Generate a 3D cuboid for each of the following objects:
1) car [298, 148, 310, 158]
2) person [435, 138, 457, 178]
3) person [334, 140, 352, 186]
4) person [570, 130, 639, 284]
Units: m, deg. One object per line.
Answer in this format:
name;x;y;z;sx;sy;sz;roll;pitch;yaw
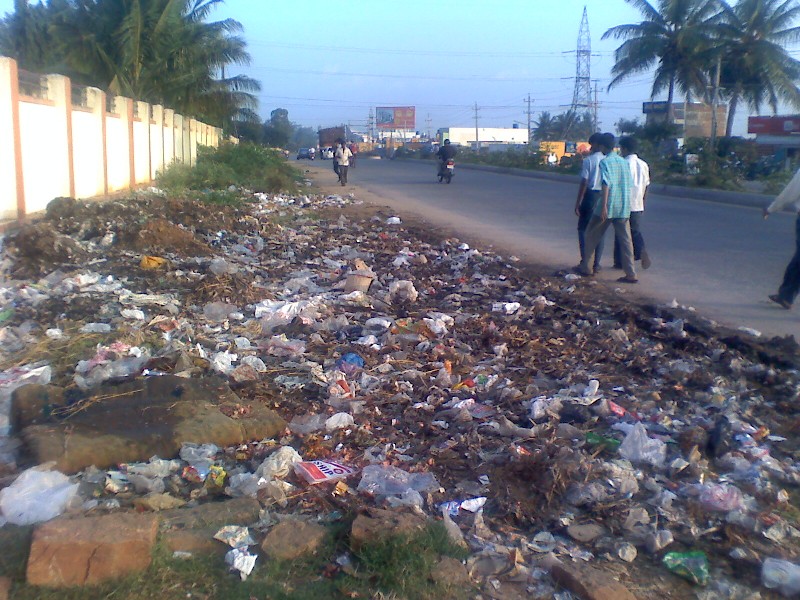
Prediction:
car;-10.078;-15.057;59.134;1.557;0.861;0.943;15;24;34
person;1.779;-5.970;23.850;0.726;1.007;1.593;-1;33;-2
person;-2.260;-5.383;22.582;0.937;1.279;1.911;-1;12;-3
person;2.814;-1.209;7.530;0.761;1.817;0.678;10;20;26
